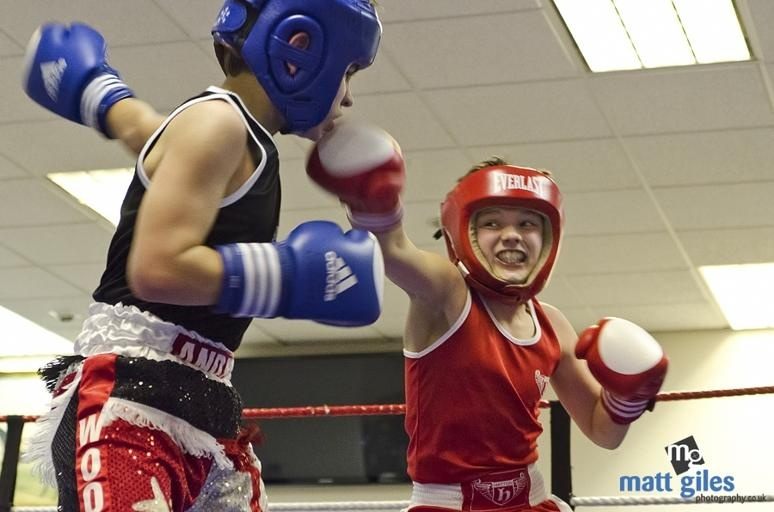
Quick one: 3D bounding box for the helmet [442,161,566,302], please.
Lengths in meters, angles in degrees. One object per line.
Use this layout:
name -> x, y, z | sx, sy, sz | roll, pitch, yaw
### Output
helmet -> 0.388, -0.048, 2.566 | 0.368, 0.467, 0.409 | 1, -9, 1
